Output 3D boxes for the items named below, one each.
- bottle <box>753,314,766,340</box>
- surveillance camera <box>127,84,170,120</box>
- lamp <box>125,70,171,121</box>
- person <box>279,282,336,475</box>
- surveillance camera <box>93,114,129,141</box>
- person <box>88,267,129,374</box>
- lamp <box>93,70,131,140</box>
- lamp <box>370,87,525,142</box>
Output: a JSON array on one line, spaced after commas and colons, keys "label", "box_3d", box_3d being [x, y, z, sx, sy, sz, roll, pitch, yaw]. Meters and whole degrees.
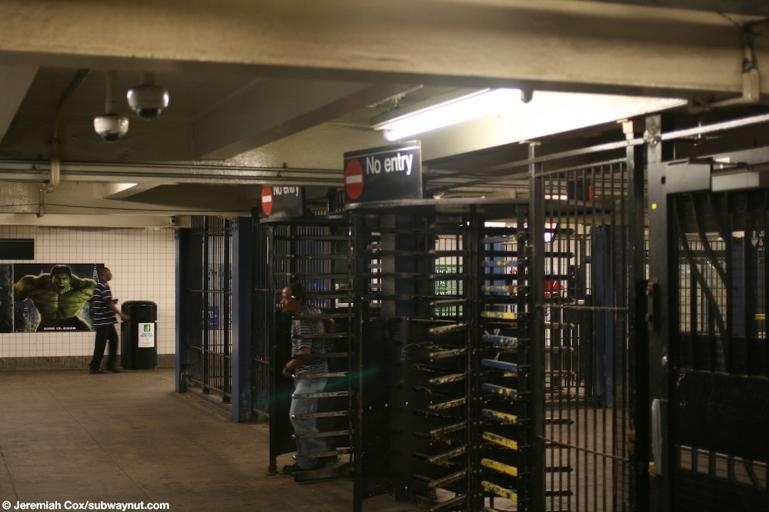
[{"label": "bottle", "box_3d": [2.851, 0.532, 6.005, 0.057, 0.206, 0.105, 0, 1, 11]}, {"label": "surveillance camera", "box_3d": [-2.248, -1.438, 7.489, 0.353, 0.268, 0.345, -3, 3, 9]}, {"label": "lamp", "box_3d": [-2.259, -1.529, 7.530, 0.423, 0.518, 0.407, -2, -7, 6]}, {"label": "person", "box_3d": [-0.933, 1.468, 9.343, 0.547, 2.287, 0.670, 0, 1, -7]}, {"label": "surveillance camera", "box_3d": [-2.812, -1.292, 8.003, 0.353, 0.258, 0.344, -1, 4, -1]}, {"label": "person", "box_3d": [-6.162, 1.411, 17.417, 0.705, 2.337, 1.576, 0, 1, -20]}, {"label": "lamp", "box_3d": [-2.776, -1.529, 8.016, 0.505, 0.739, 0.493, -1, 7, -18]}, {"label": "lamp", "box_3d": [0.672, -1.413, 8.026, 0.633, 0.250, 1.881, -1, 1, -36]}]
